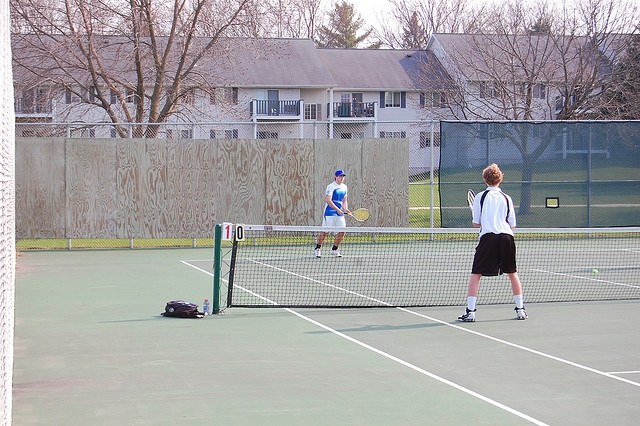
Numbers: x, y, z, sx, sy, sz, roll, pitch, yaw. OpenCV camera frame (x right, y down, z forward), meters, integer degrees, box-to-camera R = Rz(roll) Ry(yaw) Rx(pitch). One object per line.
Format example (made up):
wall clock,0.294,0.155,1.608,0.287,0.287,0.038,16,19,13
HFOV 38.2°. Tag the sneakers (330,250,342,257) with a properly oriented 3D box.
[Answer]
sneakers,0.493,1.120,25.479,0.357,0.122,0.157,23,-54,-31

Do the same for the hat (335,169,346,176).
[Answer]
hat,0.538,-1.135,25.464,0.187,0.127,0.251,1,1,-28

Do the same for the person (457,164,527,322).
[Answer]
person,3.684,0.592,19.263,1.276,3.259,0.908,0,2,13
